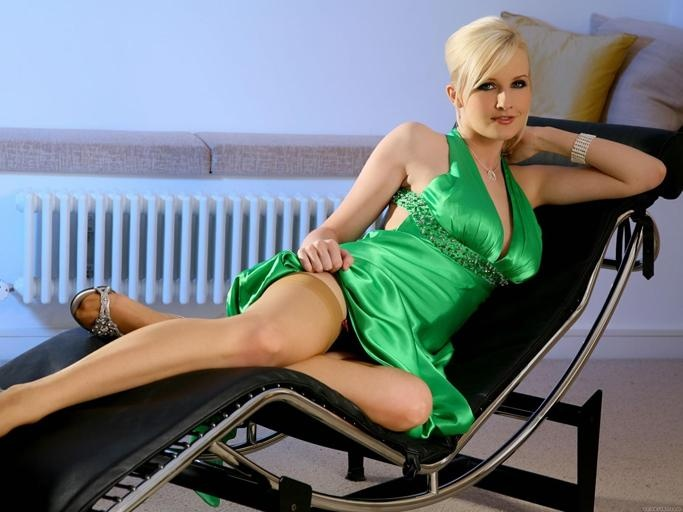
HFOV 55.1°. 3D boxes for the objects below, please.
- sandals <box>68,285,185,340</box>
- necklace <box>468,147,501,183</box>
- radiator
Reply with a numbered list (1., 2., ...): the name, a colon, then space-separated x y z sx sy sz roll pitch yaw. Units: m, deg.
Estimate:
1. sandals: -0.601 0.139 1.823 0.269 0.169 0.124 6 8 35
2. necklace: 0.436 -0.263 1.988 0.076 0.106 0.036 -25 -8 -31
3. radiator: -0.835 -0.040 3.026 1.720 0.488 0.276 -10 15 -34
